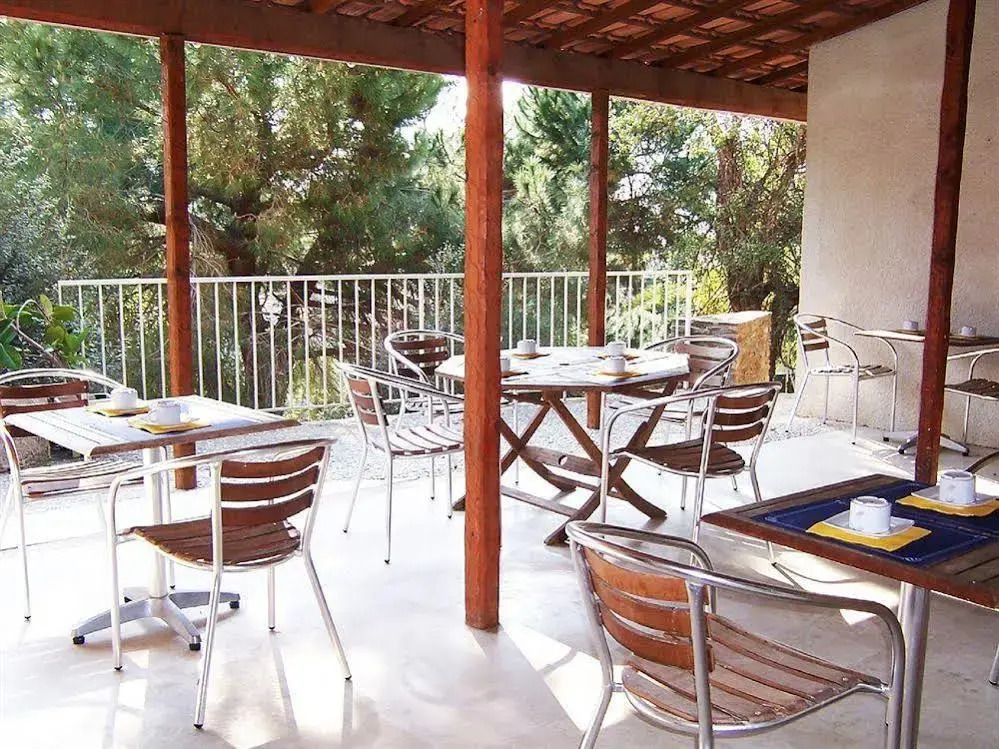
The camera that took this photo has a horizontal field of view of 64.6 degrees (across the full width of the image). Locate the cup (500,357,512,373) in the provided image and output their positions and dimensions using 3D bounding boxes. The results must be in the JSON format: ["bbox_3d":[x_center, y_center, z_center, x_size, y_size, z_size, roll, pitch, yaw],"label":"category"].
[{"bbox_3d":[0.041,-0.055,4.331,0.076,0.069,0.073,-1,20,0],"label":"cup"}]

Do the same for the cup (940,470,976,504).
[{"bbox_3d":[1.433,0.349,2.479,0.099,0.076,0.096,-3,4,0],"label":"cup"}]

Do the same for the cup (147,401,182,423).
[{"bbox_3d":[-1.375,0.150,3.251,0.091,0.084,0.146,-7,13,-32],"label":"cup"}]

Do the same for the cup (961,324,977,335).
[{"bbox_3d":[3.492,-0.332,5.844,0.077,0.047,0.076,1,5,0],"label":"cup"}]

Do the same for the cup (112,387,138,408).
[{"bbox_3d":[-1.668,0.105,3.542,0.128,0.089,0.094,-2,13,-19],"label":"cup"}]

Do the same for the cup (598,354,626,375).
[{"bbox_3d":[0.616,-0.048,4.306,0.122,0.084,0.117,0,12,0],"label":"cup"}]

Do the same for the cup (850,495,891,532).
[{"bbox_3d":[1.073,0.390,2.275,0.092,0.073,0.099,3,7,0],"label":"cup"}]

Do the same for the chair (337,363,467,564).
[{"bbox_3d":[-0.578,0.556,4.702,0.830,1.051,0.824,-7,14,-29],"label":"chair"}]

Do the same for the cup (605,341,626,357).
[{"bbox_3d":[0.694,-0.152,4.697,0.120,0.076,0.087,-3,12,2],"label":"cup"}]

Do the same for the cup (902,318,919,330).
[{"bbox_3d":[3.289,-0.410,6.309,0.090,0.058,0.090,1,9,0],"label":"cup"}]

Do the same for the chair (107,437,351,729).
[{"bbox_3d":[-1.045,0.669,2.987,0.813,0.953,0.694,-6,13,-29],"label":"chair"}]

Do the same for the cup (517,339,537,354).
[{"bbox_3d":[0.171,-0.176,4.904,0.091,0.064,0.090,-2,10,0],"label":"cup"}]
